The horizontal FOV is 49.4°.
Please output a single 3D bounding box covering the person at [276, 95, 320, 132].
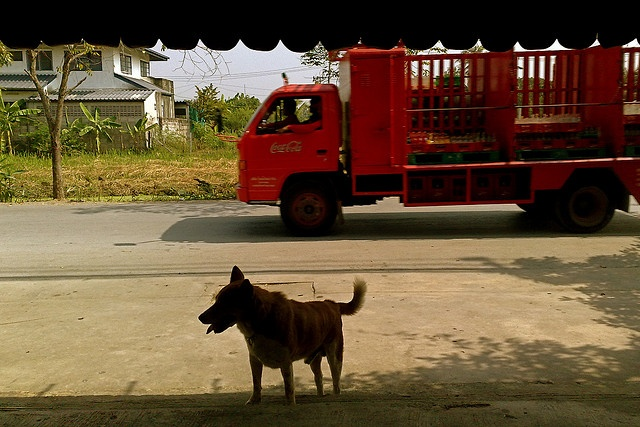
[{"bbox_3d":[-0.414,-2.147,15.300,0.923,0.319,0.803,-5,37,5],"label":"person"}]
